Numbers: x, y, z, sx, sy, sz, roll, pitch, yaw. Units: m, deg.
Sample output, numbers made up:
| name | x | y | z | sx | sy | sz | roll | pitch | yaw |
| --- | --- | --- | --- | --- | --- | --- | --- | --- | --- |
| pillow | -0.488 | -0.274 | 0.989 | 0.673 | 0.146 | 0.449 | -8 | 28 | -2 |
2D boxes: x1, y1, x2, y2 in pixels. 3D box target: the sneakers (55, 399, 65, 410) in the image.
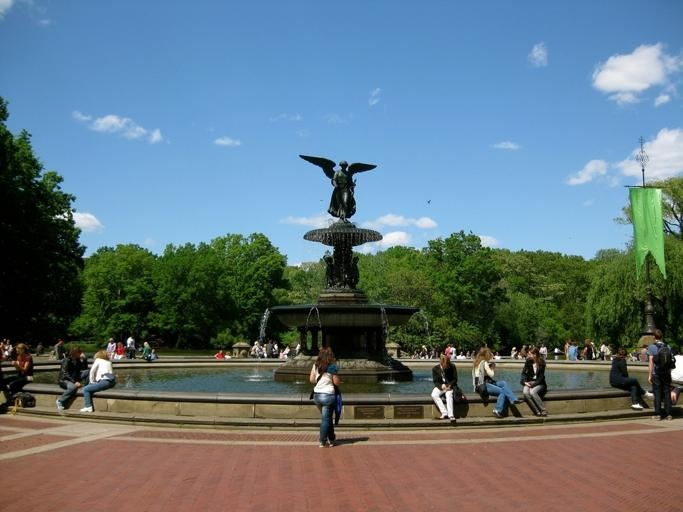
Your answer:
| name | x | y | z | sx | sy | sz | roll | pitch | yaw |
| --- | --- | --- | --- | --- | --- | --- | --- | --- | --- |
| sneakers | -6.810 | 3.639 | 17.307 | 0.351 | 0.235 | 0.128 | -2 | -4 | 33 |

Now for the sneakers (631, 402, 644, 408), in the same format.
| name | x | y | z | sx | sy | sz | roll | pitch | yaw |
| --- | --- | --- | --- | --- | --- | --- | --- | --- | --- |
| sneakers | 7.269 | 3.652 | 17.294 | 0.344 | 0.148 | 0.114 | 1 | -2 | -8 |

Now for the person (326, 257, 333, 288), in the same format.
| name | x | y | z | sx | sy | sz | roll | pitch | yaw |
| --- | --- | --- | --- | --- | --- | --- | --- | --- | --- |
| person | -0.379 | 0.586 | 25.677 | 0.243 | 1.092 | 0.348 | 0 | -3 | -2 |

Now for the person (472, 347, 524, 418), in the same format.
| name | x | y | z | sx | sy | sz | roll | pitch | yaw |
| --- | --- | --- | --- | --- | --- | --- | --- | --- | --- |
| person | 3.612 | 2.929 | 16.494 | 0.980 | 1.592 | 0.403 | -1 | -3 | 12 |

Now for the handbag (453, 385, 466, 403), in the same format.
| name | x | y | z | sx | sy | sz | roll | pitch | yaw |
| --- | --- | --- | --- | --- | --- | --- | --- | --- | --- |
| handbag | 2.762 | 3.187 | 16.282 | 0.144 | 0.381 | 0.382 | -3 | -4 | 42 |

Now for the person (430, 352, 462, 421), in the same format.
| name | x | y | z | sx | sy | sz | roll | pitch | yaw |
| --- | --- | --- | --- | --- | --- | --- | --- | --- | --- |
| person | 2.435 | 3.033 | 16.291 | 0.667 | 1.503 | 0.398 | -1 | -3 | 7 |

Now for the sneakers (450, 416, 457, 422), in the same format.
| name | x | y | z | sx | sy | sz | roll | pitch | yaw |
| --- | --- | --- | --- | --- | --- | --- | --- | --- | --- |
| sneakers | 2.555 | 3.716 | 16.097 | 0.145 | 0.119 | 0.074 | 0 | -3 | -3 |

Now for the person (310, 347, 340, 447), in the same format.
| name | x | y | z | sx | sy | sz | roll | pitch | yaw |
| --- | --- | --- | --- | --- | --- | --- | --- | --- | --- |
| person | -0.337 | 2.909 | 14.784 | 0.543 | 1.975 | 0.939 | 0 | -3 | -2 |

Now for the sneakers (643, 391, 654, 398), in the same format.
| name | x | y | z | sx | sy | sz | roll | pitch | yaw |
| --- | --- | --- | --- | --- | --- | --- | --- | --- | --- |
| sneakers | 7.582 | 3.438 | 17.478 | 0.099 | 0.119 | 0.301 | 0 | -15 | -9 |

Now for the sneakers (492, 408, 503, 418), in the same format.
| name | x | y | z | sx | sy | sz | roll | pitch | yaw |
| --- | --- | --- | --- | --- | --- | --- | --- | --- | --- |
| sneakers | 3.636 | 3.619 | 16.318 | 0.211 | 0.199 | 0.133 | -1 | -3 | 13 |

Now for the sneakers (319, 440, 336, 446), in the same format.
| name | x | y | z | sx | sy | sz | roll | pitch | yaw |
| --- | --- | --- | --- | --- | --- | --- | --- | --- | --- |
| sneakers | -0.264 | 3.831 | 14.462 | 0.366 | 0.154 | 0.121 | 1 | 2 | -35 |

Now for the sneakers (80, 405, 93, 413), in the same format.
| name | x | y | z | sx | sy | sz | roll | pitch | yaw |
| --- | --- | --- | --- | --- | --- | --- | --- | --- | --- |
| sneakers | -6.062 | 3.672 | 16.973 | 0.315 | 0.115 | 0.230 | 0 | -3 | -2 |

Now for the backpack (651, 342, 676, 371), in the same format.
| name | x | y | z | sx | sy | sz | roll | pitch | yaw |
| --- | --- | --- | --- | --- | --- | --- | --- | --- | --- |
| backpack | 7.827 | 2.490 | 17.204 | 0.491 | 0.597 | 0.722 | -1 | -3 | 22 |

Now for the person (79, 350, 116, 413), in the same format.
| name | x | y | z | sx | sy | sz | roll | pitch | yaw |
| --- | --- | --- | --- | --- | --- | --- | --- | --- | --- |
| person | -5.968 | 3.054 | 17.252 | 0.648 | 1.422 | 0.787 | -3 | -4 | 42 |

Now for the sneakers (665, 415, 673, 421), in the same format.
| name | x | y | z | sx | sy | sz | roll | pitch | yaw |
| --- | --- | --- | --- | --- | --- | --- | --- | --- | --- |
| sneakers | 7.859 | 3.879 | 16.916 | 0.119 | 0.058 | 0.117 | -2 | 1 | -23 |

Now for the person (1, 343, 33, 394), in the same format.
| name | x | y | z | sx | sy | sz | roll | pitch | yaw |
| --- | --- | --- | --- | --- | --- | --- | --- | --- | --- |
| person | -8.701 | 2.971 | 19.117 | 0.713 | 1.276 | 2.382 | 1 | -3 | -24 |

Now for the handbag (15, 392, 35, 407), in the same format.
| name | x | y | z | sx | sy | sz | roll | pitch | yaw |
| --- | --- | --- | --- | --- | --- | --- | --- | --- | --- |
| handbag | -7.921 | 3.641 | 17.933 | 0.450 | 0.310 | 0.319 | -1 | -1 | -3 |

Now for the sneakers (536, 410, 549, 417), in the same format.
| name | x | y | z | sx | sy | sz | roll | pitch | yaw |
| --- | --- | --- | --- | --- | --- | --- | --- | --- | --- |
| sneakers | 4.689 | 3.657 | 16.405 | 0.096 | 0.107 | 0.271 | 1 | -8 | -18 |
